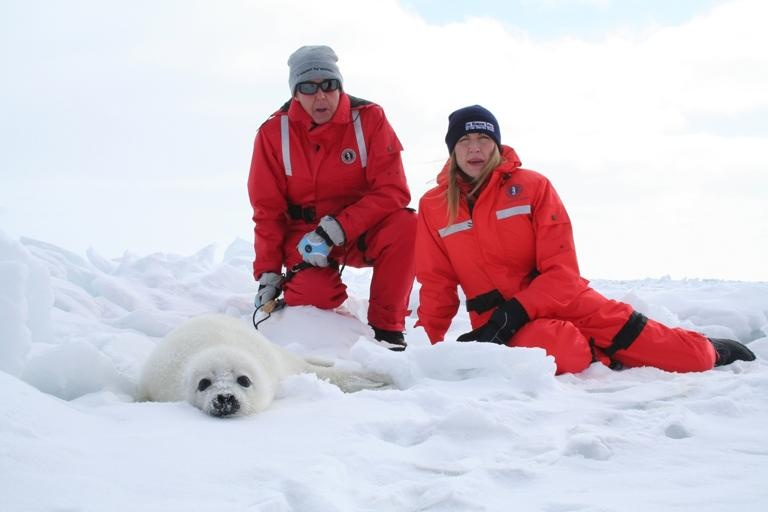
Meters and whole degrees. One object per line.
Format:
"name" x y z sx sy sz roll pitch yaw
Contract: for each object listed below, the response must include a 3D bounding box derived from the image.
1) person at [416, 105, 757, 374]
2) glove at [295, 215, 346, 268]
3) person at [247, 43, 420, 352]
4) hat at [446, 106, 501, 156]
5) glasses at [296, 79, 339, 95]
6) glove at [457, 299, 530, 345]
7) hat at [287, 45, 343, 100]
"person" 0.814 -0.121 3.663 1.509 1.349 0.621 6 13 34
"glove" -0.397 -0.086 4.404 0.293 0.332 0.118 -2 11 -7
"person" -0.261 -0.408 4.561 1.253 1.842 1.127 14 27 37
"hat" 0.484 -0.727 3.980 0.303 0.220 0.288 -6 -5 26
"glasses" -0.399 -1.025 4.218 0.275 0.095 0.105 -1 10 -5
"glove" 0.576 0.339 3.688 0.285 0.242 0.265 -5 11 -23
"hat" -0.431 -1.169 4.307 0.366 0.277 0.373 21 29 35
